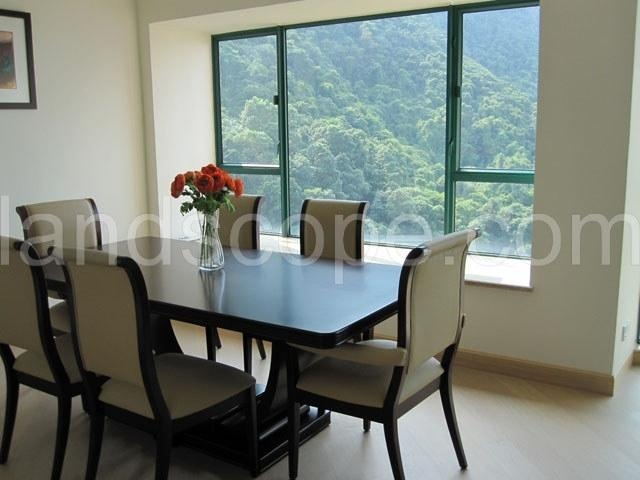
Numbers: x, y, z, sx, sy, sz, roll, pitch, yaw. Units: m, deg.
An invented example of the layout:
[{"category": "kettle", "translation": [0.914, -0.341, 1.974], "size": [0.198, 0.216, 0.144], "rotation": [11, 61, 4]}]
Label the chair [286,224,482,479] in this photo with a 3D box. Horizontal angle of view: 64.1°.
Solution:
[{"category": "chair", "translation": [0.308, 0.596, 2.468], "size": [0.942, 1.288, 0.519], "rotation": [0, 13, 4]}]
